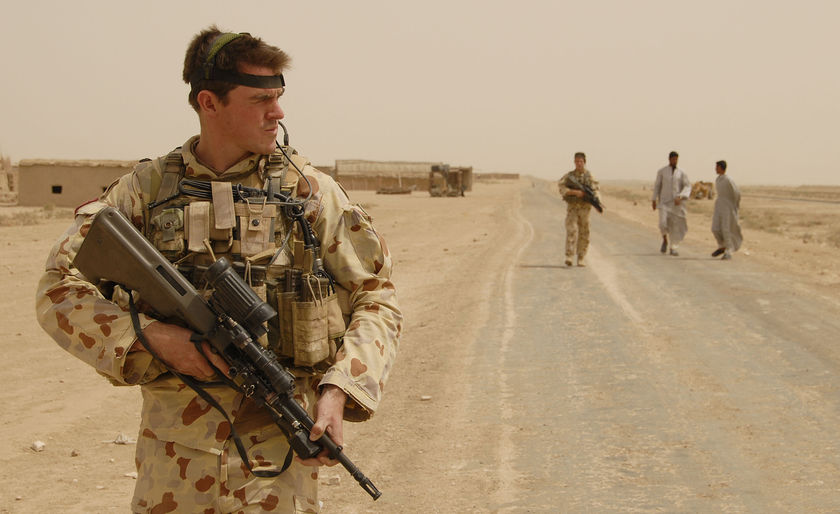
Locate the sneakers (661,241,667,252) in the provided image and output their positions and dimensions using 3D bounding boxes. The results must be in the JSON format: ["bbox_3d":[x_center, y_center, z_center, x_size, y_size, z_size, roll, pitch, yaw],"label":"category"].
[{"bbox_3d":[5.518,-0.245,18.074,0.095,0.262,0.195,8,-24,9],"label":"sneakers"}]

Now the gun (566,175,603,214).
[{"bbox_3d":[2.992,-1.259,14.764,0.609,0.529,0.317,3,12,23],"label":"gun"}]
